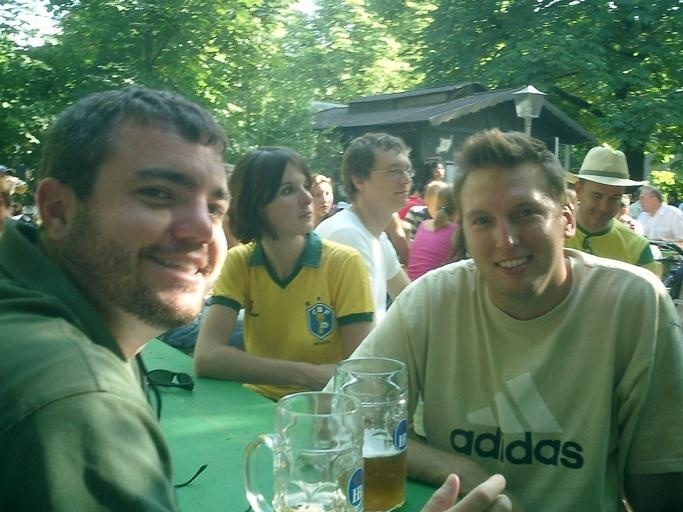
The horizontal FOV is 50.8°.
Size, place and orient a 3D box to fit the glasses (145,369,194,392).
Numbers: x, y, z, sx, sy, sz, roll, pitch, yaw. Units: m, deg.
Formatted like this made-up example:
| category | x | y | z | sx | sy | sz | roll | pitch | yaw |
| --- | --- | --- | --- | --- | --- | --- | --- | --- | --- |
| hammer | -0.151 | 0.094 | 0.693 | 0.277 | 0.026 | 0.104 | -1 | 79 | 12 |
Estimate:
| category | x | y | z | sx | sy | sz | roll | pitch | yaw |
| --- | --- | --- | --- | --- | --- | --- | --- | --- | --- |
| glasses | -0.715 | 0.519 | 3.011 | 0.177 | 0.046 | 0.132 | 5 | -5 | -18 |

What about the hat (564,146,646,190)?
| category | x | y | z | sx | sy | sz | roll | pitch | yaw |
| --- | --- | --- | --- | --- | --- | --- | --- | --- | --- |
| hat | 2.066 | -0.724 | 5.712 | 0.719 | 0.286 | 0.754 | 7 | 9 | 7 |

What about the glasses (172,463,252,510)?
| category | x | y | z | sx | sy | sz | roll | pitch | yaw |
| --- | --- | --- | --- | --- | --- | --- | --- | --- | --- |
| glasses | -0.438 | 0.691 | 2.191 | 0.150 | 0.044 | 0.148 | 36 | -34 | 2 |

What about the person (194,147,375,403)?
| category | x | y | z | sx | sy | sz | roll | pitch | yaw |
| --- | --- | --- | --- | --- | --- | --- | --- | --- | --- |
| person | -0.238 | 0.103 | 3.599 | 0.993 | 1.199 | 0.805 | -2 | -5 | 23 |
